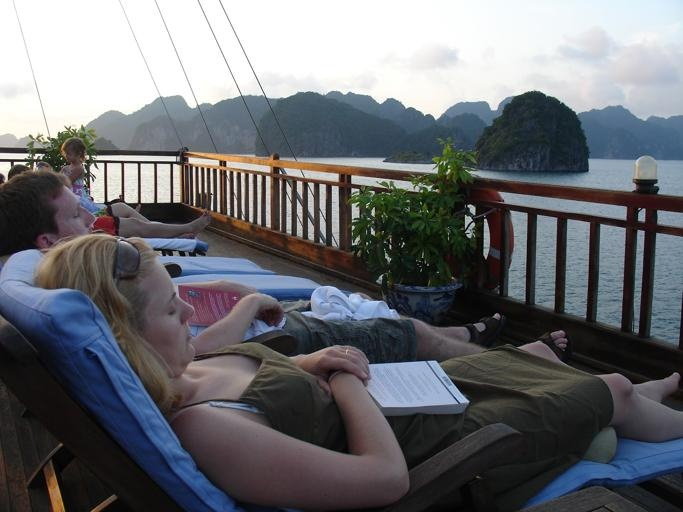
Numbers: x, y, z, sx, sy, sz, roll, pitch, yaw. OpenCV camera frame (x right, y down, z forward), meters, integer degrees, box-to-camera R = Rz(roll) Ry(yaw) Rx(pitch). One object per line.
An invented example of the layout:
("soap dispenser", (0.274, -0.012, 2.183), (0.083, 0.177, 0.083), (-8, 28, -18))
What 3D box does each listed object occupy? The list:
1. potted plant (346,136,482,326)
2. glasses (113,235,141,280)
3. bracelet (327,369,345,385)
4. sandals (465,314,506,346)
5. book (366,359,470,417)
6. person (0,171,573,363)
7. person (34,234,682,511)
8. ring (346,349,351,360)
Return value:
("potted plant", (0.508, -0.023, 3.496), (0.863, 1.064, 0.779), (8, 18, 43))
("glasses", (-0.478, 0.009, 1.142), (0.028, 0.081, 0.059), (2, 8, 10))
("bracelet", (-0.018, 0.313, 1.350), (0.017, 0.042, 0.029), (20, -11, -38))
("sandals", (0.706, 0.355, 2.553), (0.282, 0.115, 0.099), (-28, 13, -36))
("book", (0.210, 0.380, 1.493), (0.161, 0.047, 0.168), (4, 13, -5))
("person", (-0.381, 0.138, 1.987), (1.440, 0.622, 1.040), (4, 16, -29))
("person", (0.080, 0.161, 1.410), (1.444, 0.671, 0.776), (-6, 14, -26))
("ring", (0.017, 0.259, 1.388), (0.011, 0.016, 0.016), (-1, 3, -1))
